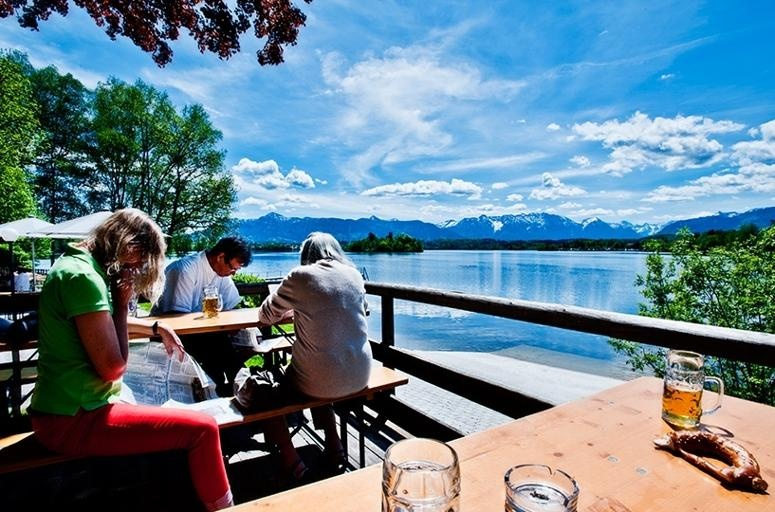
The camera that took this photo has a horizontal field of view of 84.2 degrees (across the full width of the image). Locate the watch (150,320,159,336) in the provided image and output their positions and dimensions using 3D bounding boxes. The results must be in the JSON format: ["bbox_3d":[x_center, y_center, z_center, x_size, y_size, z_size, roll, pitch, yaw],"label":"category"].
[{"bbox_3d":[-1.820,0.576,3.377,0.029,0.095,0.094,8,-7,-40],"label":"watch"}]

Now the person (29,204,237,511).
[{"bbox_3d":[-1.570,0.619,2.674,1.051,1.842,0.381,0,4,-2],"label":"person"}]
